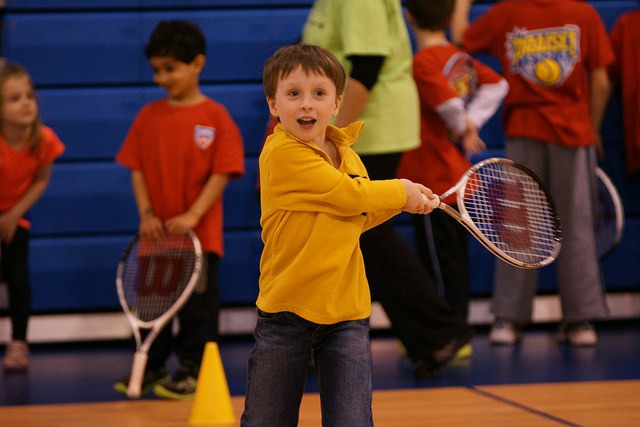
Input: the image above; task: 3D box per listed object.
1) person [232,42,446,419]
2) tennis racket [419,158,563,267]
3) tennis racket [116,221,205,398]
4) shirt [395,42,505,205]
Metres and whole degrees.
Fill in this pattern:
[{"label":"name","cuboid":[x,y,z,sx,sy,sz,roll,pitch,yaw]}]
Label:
[{"label":"person","cuboid":[0.009,0.055,4.103,0.939,1.858,1.397,-2,8,-4]},{"label":"tennis racket","cuboid":[0.802,-0.031,4.281,0.996,0.584,0.089,12,31,35]},{"label":"tennis racket","cuboid":[-0.815,0.438,4.174,0.400,0.913,0.068,-9,-37,19]},{"label":"shirt","cuboid":[0.774,-0.524,5.020,0.582,1.085,0.489,7,31,12]}]
